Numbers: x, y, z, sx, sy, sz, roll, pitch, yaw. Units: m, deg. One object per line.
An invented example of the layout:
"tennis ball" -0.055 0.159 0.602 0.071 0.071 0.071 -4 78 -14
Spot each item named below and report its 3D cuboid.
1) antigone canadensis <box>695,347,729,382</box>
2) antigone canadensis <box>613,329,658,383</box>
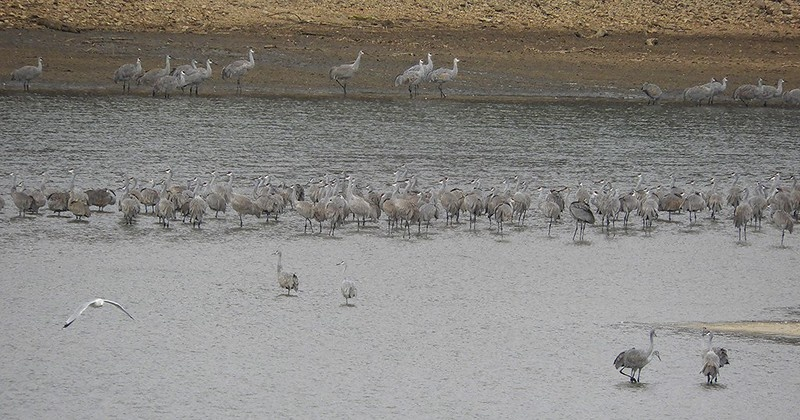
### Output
"antigone canadensis" 10.236 4.963 38.191 0.595 0.894 1.497 8 14 10
"antigone canadensis" 7.902 5.004 38.845 1.462 1.583 3.001 3 2 5
